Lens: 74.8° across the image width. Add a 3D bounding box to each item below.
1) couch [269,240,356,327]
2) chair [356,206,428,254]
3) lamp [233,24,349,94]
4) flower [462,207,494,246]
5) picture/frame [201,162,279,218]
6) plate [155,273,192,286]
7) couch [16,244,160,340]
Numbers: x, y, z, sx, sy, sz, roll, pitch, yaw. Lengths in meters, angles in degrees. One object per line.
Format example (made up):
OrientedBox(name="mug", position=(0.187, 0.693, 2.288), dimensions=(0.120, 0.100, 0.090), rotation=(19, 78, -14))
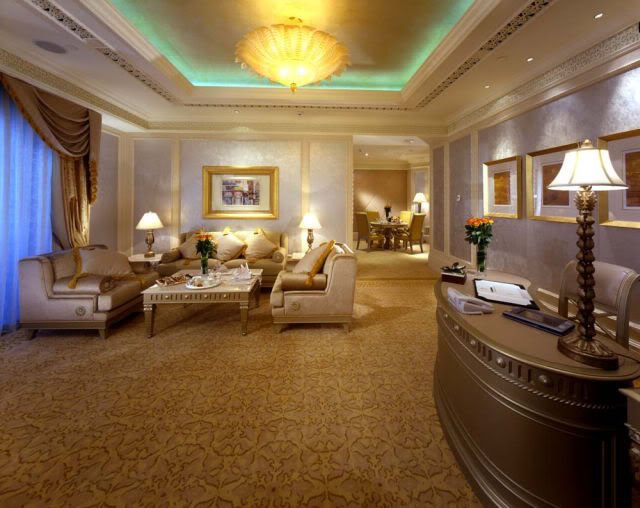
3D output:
OrientedBox(name="couch", position=(-0.065, 0.393, 4.873), dimensions=(0.893, 0.816, 1.259), rotation=(1, 3, 1))
OrientedBox(name="chair", position=(1.797, -0.564, 10.744), dimensions=(1.370, 0.700, 1.356), rotation=(-3, 7, -27))
OrientedBox(name="lamp", position=(-0.311, -2.086, 4.556), dimensions=(0.887, 0.419, 0.872), rotation=(2, -15, -6))
OrientedBox(name="flower", position=(1.396, -0.198, 3.683), dimensions=(0.208, 0.264, 0.341), rotation=(1, 4, 17))
OrientedBox(name="picture/frame", position=(-1.448, -1.137, 7.289), dimensions=(1.002, 0.689, 0.052), rotation=(0, 6, 0))
OrientedBox(name="plate", position=(-1.681, 0.305, 4.862), dimensions=(0.293, 0.039, 0.206), rotation=(-4, 7, -35))
OrientedBox(name="couch", position=(-2.640, 0.109, 4.728), dimensions=(0.897, 0.796, 1.571), rotation=(1, 5, -7))
